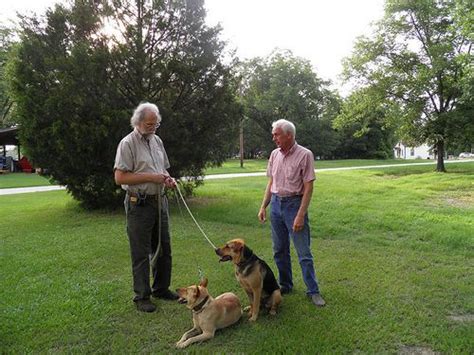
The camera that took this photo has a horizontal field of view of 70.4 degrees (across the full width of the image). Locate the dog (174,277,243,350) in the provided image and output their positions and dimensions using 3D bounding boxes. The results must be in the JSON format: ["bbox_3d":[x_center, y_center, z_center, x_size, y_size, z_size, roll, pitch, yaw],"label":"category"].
[{"bbox_3d":[-0.435,2.023,5.228,0.598,0.745,1.161,1,-1,43],"label":"dog"}]

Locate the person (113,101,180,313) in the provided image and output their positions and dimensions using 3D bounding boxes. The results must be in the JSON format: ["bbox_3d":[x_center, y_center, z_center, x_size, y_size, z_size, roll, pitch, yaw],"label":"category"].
[{"bbox_3d":[-1.519,0.467,5.660,0.892,3.363,0.870,-8,14,-31],"label":"person"}]

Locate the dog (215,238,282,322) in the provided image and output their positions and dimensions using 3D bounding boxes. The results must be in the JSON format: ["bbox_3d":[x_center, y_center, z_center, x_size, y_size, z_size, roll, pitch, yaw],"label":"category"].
[{"bbox_3d":[0.265,1.637,5.596,1.021,1.365,0.659,-4,5,-26],"label":"dog"}]

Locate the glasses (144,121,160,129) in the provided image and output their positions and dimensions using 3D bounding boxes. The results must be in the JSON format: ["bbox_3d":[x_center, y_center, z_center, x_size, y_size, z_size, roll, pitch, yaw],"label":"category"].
[{"bbox_3d":[-1.437,-0.929,5.841,0.182,0.090,0.567,-1,13,-2],"label":"glasses"}]

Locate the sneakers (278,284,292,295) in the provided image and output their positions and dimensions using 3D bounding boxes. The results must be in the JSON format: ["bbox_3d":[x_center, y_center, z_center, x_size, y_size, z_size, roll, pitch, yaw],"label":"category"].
[{"bbox_3d":[0.882,2.002,6.030,0.313,0.174,0.120,7,-1,-12],"label":"sneakers"}]

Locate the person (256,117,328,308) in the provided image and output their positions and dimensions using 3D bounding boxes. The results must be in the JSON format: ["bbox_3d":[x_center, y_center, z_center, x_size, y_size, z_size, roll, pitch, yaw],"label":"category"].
[{"bbox_3d":[0.962,0.545,5.826,1.266,3.044,0.504,9,15,37],"label":"person"}]
